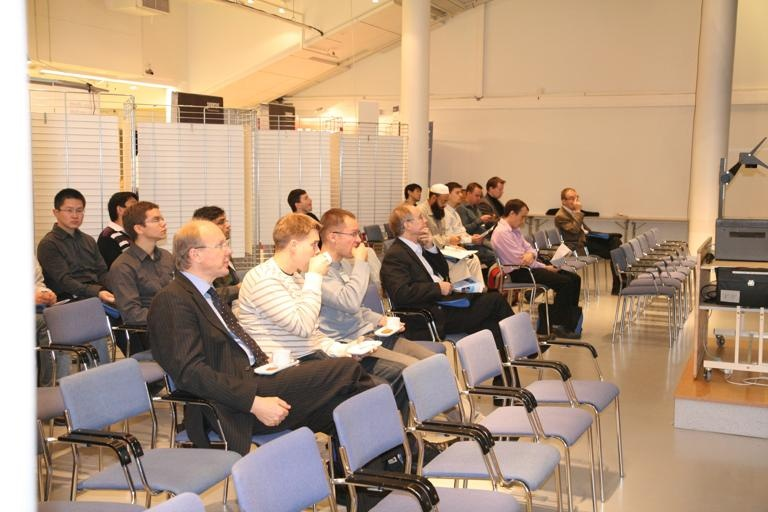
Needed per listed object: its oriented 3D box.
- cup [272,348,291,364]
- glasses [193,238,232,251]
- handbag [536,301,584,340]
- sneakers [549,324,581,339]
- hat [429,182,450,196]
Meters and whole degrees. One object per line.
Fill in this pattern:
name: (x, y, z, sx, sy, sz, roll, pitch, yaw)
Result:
cup: (-0.591, 0.576, 3.604, 0.096, 0.069, 0.075, -2, -2, 42)
glasses: (-0.991, -0.067, 3.566, 0.139, 0.038, 0.140, -4, -2, 23)
handbag: (1.945, 0.695, 6.938, 0.660, 0.283, 0.248, -1, 4, 27)
sneakers: (1.984, 0.830, 6.880, 0.379, 0.152, 0.143, 0, 5, 17)
hat: (0.739, -0.857, 8.119, 0.192, 0.077, 0.198, 0, 1, -30)
